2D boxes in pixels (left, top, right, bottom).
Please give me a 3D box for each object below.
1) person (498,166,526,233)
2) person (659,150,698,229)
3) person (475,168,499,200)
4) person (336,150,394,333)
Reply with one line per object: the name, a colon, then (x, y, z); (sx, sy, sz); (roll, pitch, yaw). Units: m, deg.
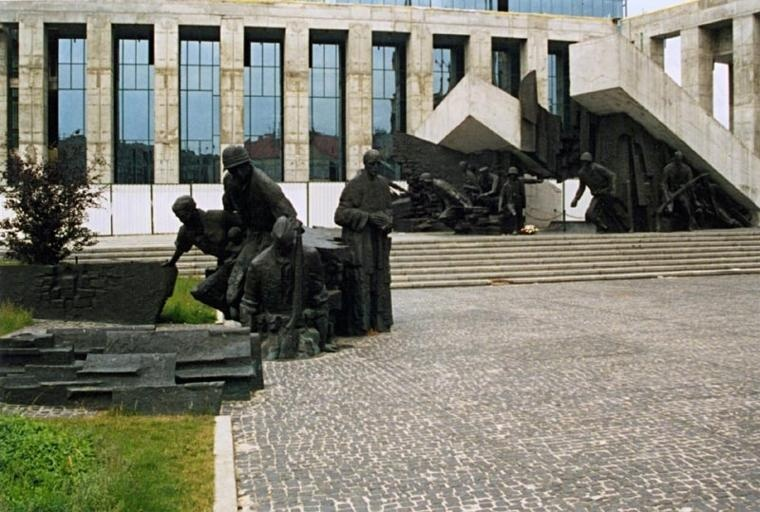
person: (4.703, -2.050, 31.785); (0.898, 2.208, 1.489); (2, 8, 7)
person: (10.226, -2.238, 30.434); (1.192, 2.690, 0.648); (2, 8, 7)
person: (3.960, -2.705, 32.489); (0.749, 1.054, 1.049); (2, 8, 5)
person: (-0.286, -0.316, 18.505); (1.134, 3.734, 0.887); (1, 8, 0)
